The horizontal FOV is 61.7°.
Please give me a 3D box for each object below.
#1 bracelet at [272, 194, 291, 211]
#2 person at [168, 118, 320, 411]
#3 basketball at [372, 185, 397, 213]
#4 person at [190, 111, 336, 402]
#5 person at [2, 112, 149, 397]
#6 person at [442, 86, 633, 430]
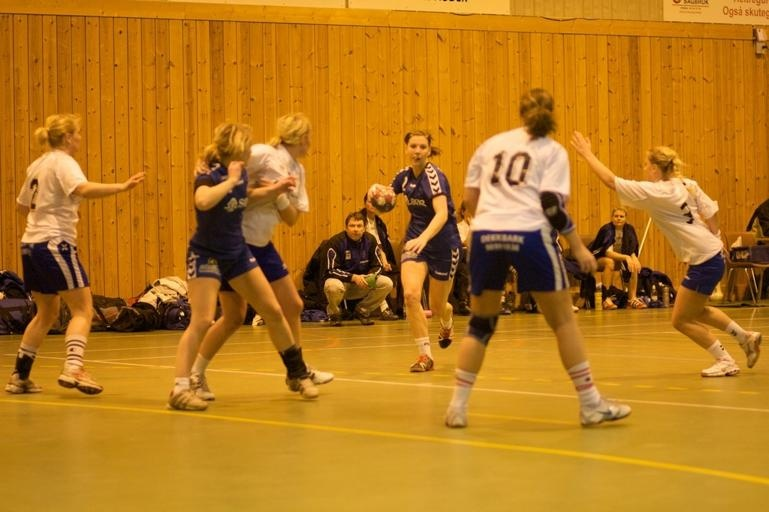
[{"bbox_3d":[-0.803,-0.410,4.980,0.104,0.116,0.113,3,0,-5],"label":"bracelet"},{"bbox_3d":[-1.085,0.051,4.732,1.015,2.015,0.701,-4,5,-29],"label":"person"},{"bbox_3d":[-0.045,-0.569,6.406,0.198,0.286,0.269,-24,7,-10],"label":"basketball"},{"bbox_3d":[-0.947,0.008,5.109,1.053,2.282,0.710,1,7,-22],"label":"person"},{"bbox_3d":[-2.701,0.001,5.267,1.025,2.279,0.679,5,10,28],"label":"person"},{"bbox_3d":[0.979,0.023,4.252,1.048,2.145,0.744,0,1,20],"label":"person"}]
